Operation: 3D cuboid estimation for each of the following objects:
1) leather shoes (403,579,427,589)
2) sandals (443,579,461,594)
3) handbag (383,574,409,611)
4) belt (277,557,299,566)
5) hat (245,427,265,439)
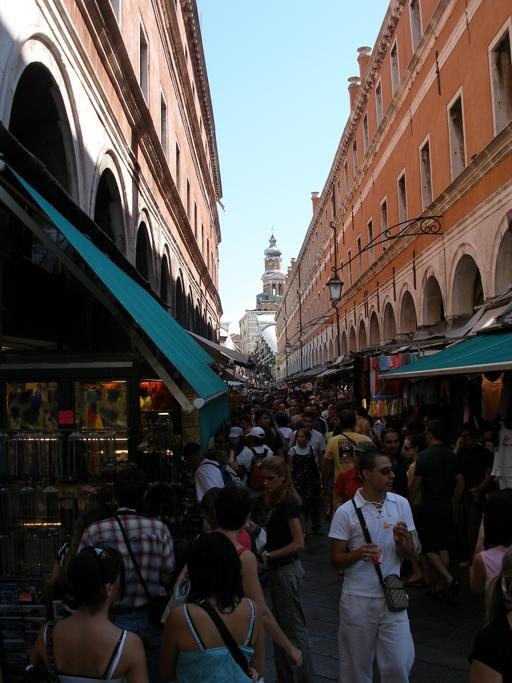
[{"bbox_3d":[1.645,2.491,6.186,0.200,0.102,0.078,5,-8,-1],"label":"leather shoes"},{"bbox_3d":[1.807,2.276,5.552,0.102,0.163,0.200,-3,-8,5],"label":"sandals"},{"bbox_3d":[0.741,1.346,3.194,0.126,0.191,0.141,-2,-8,2],"label":"handbag"},{"bbox_3d":[0.185,1.402,3.819,0.079,0.026,0.092,-12,-10,-7],"label":"belt"},{"bbox_3d":[0.001,1.234,8.221,0.229,0.158,0.167,-12,-25,44],"label":"hat"}]
